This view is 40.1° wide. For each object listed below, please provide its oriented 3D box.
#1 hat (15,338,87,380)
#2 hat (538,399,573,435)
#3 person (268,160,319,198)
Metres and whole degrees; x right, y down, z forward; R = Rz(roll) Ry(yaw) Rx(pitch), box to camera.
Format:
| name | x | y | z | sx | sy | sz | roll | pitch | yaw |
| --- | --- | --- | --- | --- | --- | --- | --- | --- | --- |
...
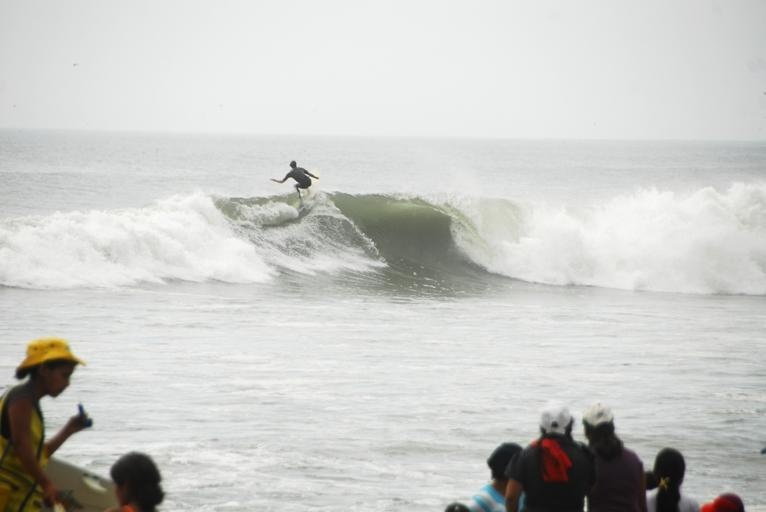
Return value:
| name | x | y | z | sx | sy | sz | roll | pitch | yaw |
| --- | --- | --- | --- | --- | --- | --- | --- | --- | --- |
| hat | -4.761 | 1.343 | 14.834 | 0.719 | 0.314 | 0.738 | -7 | 4 | 43 |
| hat | 2.518 | 2.292 | 15.115 | 0.511 | 0.317 | 0.689 | -9 | -2 | 19 |
| person | -2.639 | -2.433 | 33.194 | 1.615 | 1.084 | 0.554 | -11 | 26 | -3 |
